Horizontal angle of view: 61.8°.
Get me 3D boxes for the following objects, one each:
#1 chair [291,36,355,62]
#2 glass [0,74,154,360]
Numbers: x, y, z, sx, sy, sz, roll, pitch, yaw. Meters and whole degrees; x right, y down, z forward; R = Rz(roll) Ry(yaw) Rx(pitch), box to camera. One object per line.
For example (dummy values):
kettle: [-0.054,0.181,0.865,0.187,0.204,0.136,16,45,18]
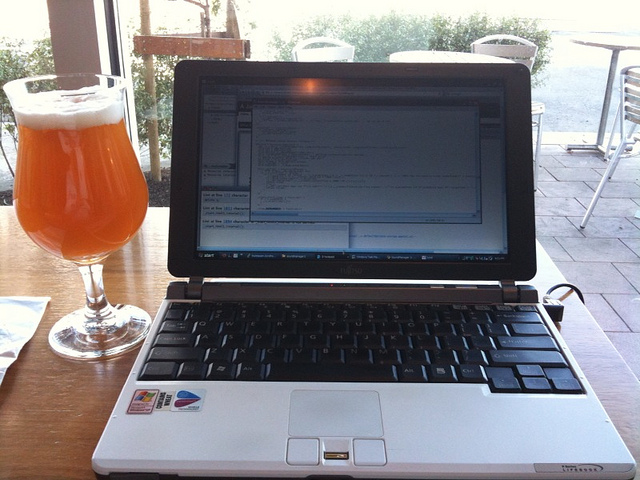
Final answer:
chair: [0.025,-0.927,2.591,0.284,0.111,0.583,2,21,3]
glass: [-0.316,-0.039,0.718,0.165,0.344,0.262,-7,27,-15]
